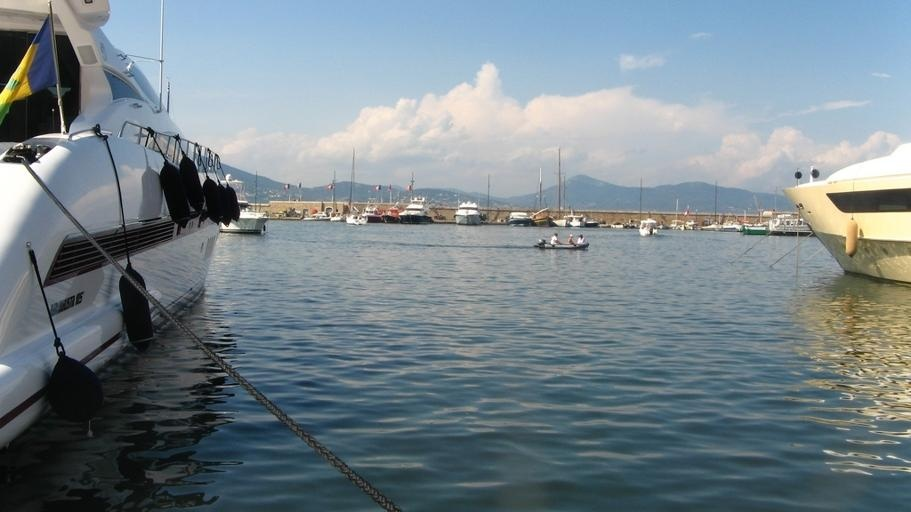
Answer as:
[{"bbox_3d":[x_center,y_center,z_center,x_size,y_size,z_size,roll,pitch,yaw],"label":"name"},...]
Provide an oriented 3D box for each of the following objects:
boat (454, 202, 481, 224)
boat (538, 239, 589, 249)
[{"bbox_3d":[2.062,-8.335,129.820,4.937,4.094,7.125,1,14,-2],"label":"boat"},{"bbox_3d":[7.971,-0.762,49.041,4.524,0.794,1.272,1,9,11],"label":"boat"}]
